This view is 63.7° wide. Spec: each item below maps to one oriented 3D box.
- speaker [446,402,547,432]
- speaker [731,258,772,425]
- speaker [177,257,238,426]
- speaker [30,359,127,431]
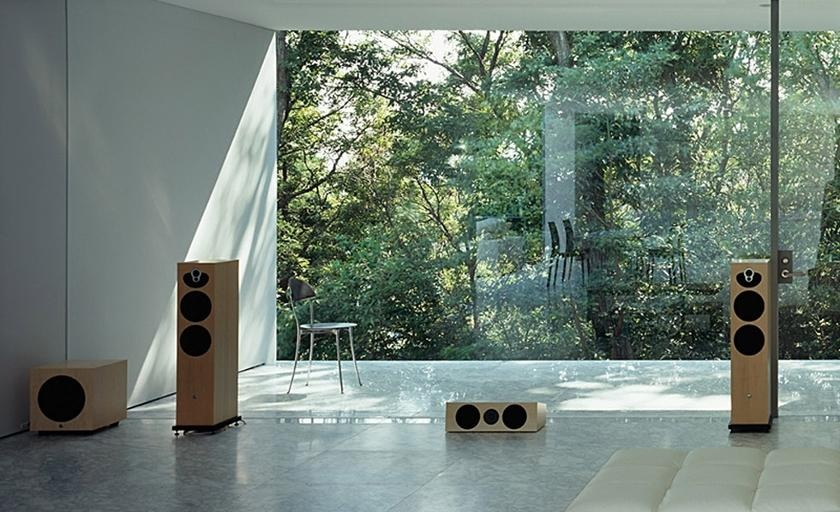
[{"bbox_3d":[0.648,1.362,5.809,0.866,0.241,0.202,-1,7,1],"label":"speaker"},{"bbox_3d":[2.813,0.746,5.760,0.334,1.399,0.472,2,9,24],"label":"speaker"},{"bbox_3d":[-1.859,0.775,5.900,0.637,1.452,0.371,-5,9,-25],"label":"speaker"},{"bbox_3d":[-2.992,1.215,6.024,0.609,0.547,0.653,-1,-5,1],"label":"speaker"}]
